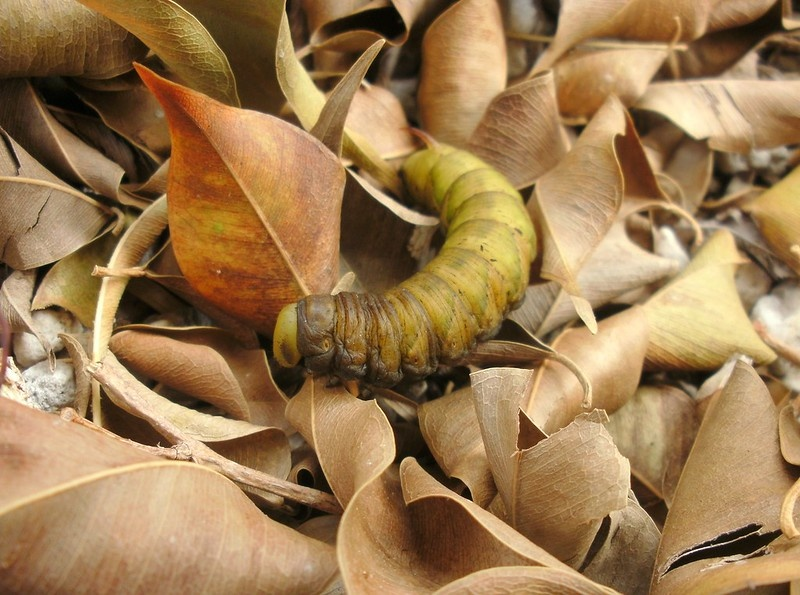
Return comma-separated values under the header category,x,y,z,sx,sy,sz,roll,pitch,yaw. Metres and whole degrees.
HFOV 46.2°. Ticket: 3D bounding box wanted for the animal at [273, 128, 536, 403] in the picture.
category,x,y,z,sx,sy,sz,roll,pitch,yaw
animal,0.050,-0.005,1.479,0.287,0.138,0.463,24,60,8
